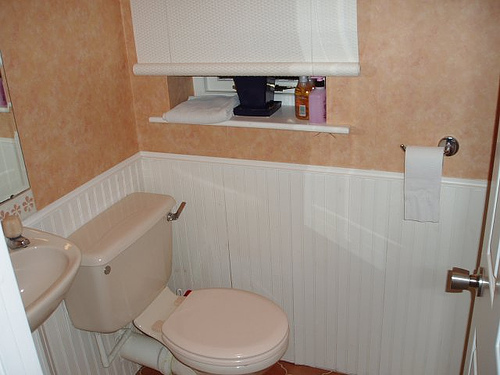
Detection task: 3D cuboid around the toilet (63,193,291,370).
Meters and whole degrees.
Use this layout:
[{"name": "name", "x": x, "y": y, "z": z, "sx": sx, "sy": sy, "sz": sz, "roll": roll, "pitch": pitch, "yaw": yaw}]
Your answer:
[{"name": "toilet", "x": -0.259, "y": 0.470, "z": 1.963, "sx": 0.929, "sy": 0.787, "sz": 0.649, "roll": 14, "pitch": 35, "yaw": 17}]

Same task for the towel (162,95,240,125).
[{"name": "towel", "x": -0.152, "y": -0.359, "z": 1.968, "sx": 0.315, "sy": 0.333, "sz": 0.055, "roll": -12, "pitch": -35, "yaw": 36}]

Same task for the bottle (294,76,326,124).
[{"name": "bottle", "x": 0.276, "y": -0.399, "z": 1.795, "sx": 0.089, "sy": 0.202, "sz": 0.150, "roll": -6, "pitch": 17, "yaw": -17}]
